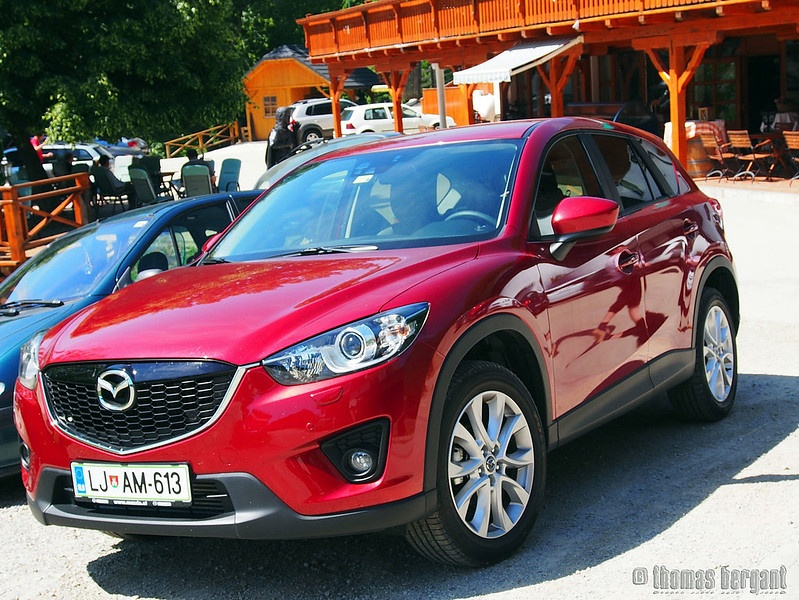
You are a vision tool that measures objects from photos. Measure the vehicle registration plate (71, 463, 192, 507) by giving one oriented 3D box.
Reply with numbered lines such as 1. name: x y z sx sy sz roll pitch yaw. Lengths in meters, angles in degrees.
1. vehicle registration plate: -1.153 0.779 2.977 0.657 0.201 0.026 -2 10 23

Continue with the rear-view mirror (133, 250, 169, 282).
1. rear-view mirror: -1.839 -0.248 5.139 0.230 0.293 0.080 7 -12 3

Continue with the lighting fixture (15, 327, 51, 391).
1. lighting fixture: -1.790 0.296 3.522 0.206 0.314 0.107 4 -3 39

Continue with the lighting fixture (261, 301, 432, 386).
1. lighting fixture: -0.206 0.188 2.852 0.724 0.219 0.141 -15 -7 0

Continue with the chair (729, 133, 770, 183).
1. chair: 7.874 -3.296 15.878 0.882 0.949 0.871 12 26 29
